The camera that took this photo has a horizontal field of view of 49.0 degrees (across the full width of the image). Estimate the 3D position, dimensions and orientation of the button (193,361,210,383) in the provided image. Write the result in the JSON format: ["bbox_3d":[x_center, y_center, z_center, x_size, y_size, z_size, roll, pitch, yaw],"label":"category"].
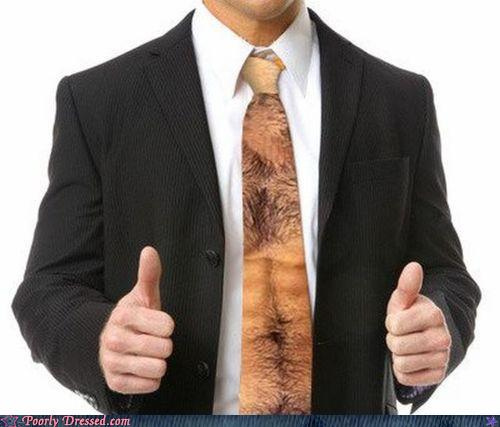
[{"bbox_3d":[-0.150,0.482,1.690,0.049,0.068,0.015,-3,8,40],"label":"button"}]

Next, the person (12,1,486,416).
[{"bbox_3d":[0.011,-0.063,1.914,1.520,1.425,0.796,6,-32,-15],"label":"person"}]

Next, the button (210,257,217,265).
[{"bbox_3d":[-0.111,0.144,1.675,0.019,0.020,0.005,0,-2,24],"label":"button"}]
